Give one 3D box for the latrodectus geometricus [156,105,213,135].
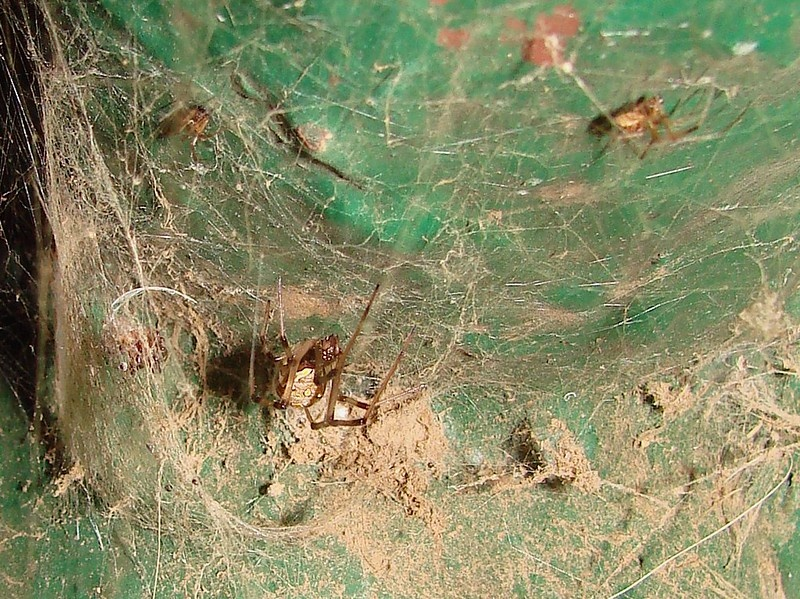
[{"bbox_3d":[-1.106,-0.910,4.372,0.265,0.103,0.117,-1,73,-3],"label":"latrodectus geometricus"}]
